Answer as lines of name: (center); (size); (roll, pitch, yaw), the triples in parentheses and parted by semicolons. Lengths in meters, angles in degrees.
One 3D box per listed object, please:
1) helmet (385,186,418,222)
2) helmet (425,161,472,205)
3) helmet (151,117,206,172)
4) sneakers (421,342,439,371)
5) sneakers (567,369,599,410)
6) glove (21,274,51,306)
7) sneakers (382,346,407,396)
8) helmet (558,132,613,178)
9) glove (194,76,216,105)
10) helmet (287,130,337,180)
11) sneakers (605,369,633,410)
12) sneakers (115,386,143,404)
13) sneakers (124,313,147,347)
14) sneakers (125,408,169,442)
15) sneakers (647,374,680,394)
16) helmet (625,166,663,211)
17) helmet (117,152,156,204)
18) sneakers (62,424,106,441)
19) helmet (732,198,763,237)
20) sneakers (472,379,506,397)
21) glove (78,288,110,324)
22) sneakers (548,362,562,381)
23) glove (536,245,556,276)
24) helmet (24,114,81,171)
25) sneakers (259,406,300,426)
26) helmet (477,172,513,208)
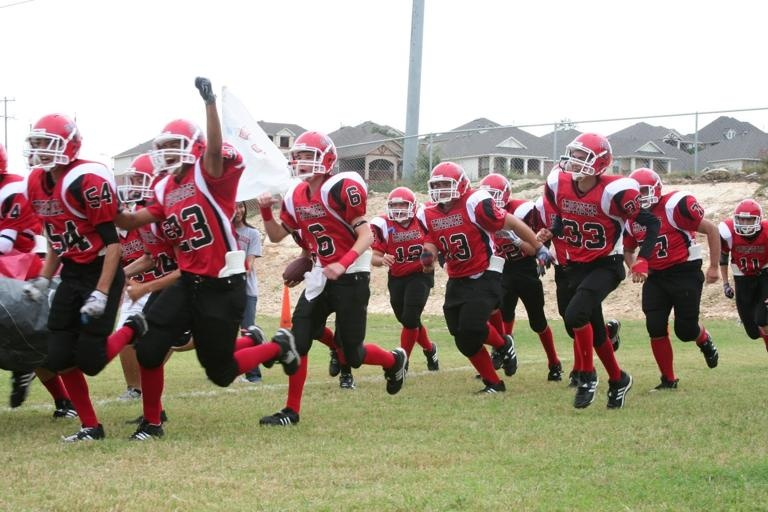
helmet: (0.150, -0.652, 9.920); (0.382, 0.352, 0.458); (1, -11, -17)
helmet: (0.740, -0.830, 8.327); (0.386, 0.377, 0.494); (0, 7, 37)
helmet: (-1.755, -0.986, 6.610); (0.534, 0.409, 0.420); (-7, 8, -36)
sneakers: (0.568, 1.315, 9.953); (0.183, 0.398, 0.139); (-23, 16, -39)
sneakers: (2.047, 1.387, 7.791); (0.176, 0.367, 0.125); (35, -39, -16)
glove: (-3.077, 0.287, 6.637); (0.228, 0.202, 0.138); (-3, 3, -44)
sneakers: (0.129, 1.217, 7.997); (0.258, 0.523, 0.187); (-23, 31, -35)
helmet: (2.113, -1.045, 7.777); (0.634, 0.452, 0.458); (-2, 12, -20)
glove: (-1.449, -1.330, 6.019); (0.146, 0.213, 0.239); (-1, 2, -14)
helmet: (-0.692, -0.995, 7.267); (0.414, 0.404, 0.543); (1, 7, 39)
sneakers: (2.321, 1.351, 7.661); (0.246, 0.489, 0.166); (33, -24, -24)
sneakers: (-2.815, 1.485, 8.107); (0.411, 0.159, 0.147); (0, -5, 29)
sneakers: (-2.165, 0.616, 6.493); (0.129, 0.243, 0.233); (-3, 3, -40)
sneakers: (-2.012, 1.524, 6.694); (0.185, 0.216, 0.560); (-9, -10, 38)
sneakers: (3.122, 1.418, 8.344); (0.403, 0.165, 0.141); (-20, -11, 37)
helmet: (3.074, -0.824, 8.821); (0.484, 0.361, 0.339); (-19, 10, -22)
helmet: (-2.442, -0.794, 7.597); (0.389, 0.441, 0.513); (4, 8, 21)
sneakers: (-2.591, 1.511, 6.476); (0.361, 0.138, 0.115); (4, 1, -27)
helmet: (4.565, -0.479, 9.578); (0.355, 0.367, 0.490); (0, 4, 33)
sneakers: (1.140, 1.470, 8.368); (0.410, 0.157, 0.131); (4, -10, -28)
glove: (-2.409, 0.408, 6.209); (0.204, 0.272, 0.110); (33, -24, -8)
sneakers: (2.037, 1.439, 9.268); (0.162, 0.232, 0.242); (-1, -21, 6)
glove: (1.817, 0.049, 8.560); (0.339, 0.397, 0.169); (-1, 2, -9)
helmet: (-2.844, -1.003, 6.452); (0.379, 0.424, 0.492); (8, 17, 27)
sneakers: (-0.986, 1.490, 6.988); (0.296, 0.111, 0.152); (6, -8, -21)
helmet: (1.481, -0.875, 10.053); (0.547, 0.397, 0.391); (-11, 10, -43)
